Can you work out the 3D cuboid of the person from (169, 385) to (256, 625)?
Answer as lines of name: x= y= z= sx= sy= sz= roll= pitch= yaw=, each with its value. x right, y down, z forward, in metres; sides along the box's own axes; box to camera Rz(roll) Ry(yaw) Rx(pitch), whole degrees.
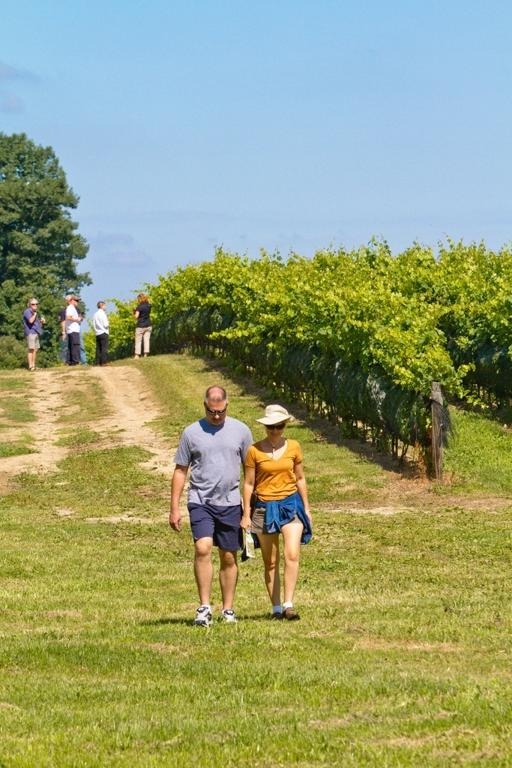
person: x=-0.345 y=0.938 z=12.785 sx=0.435 sy=1.849 sz=0.695 roll=2 pitch=5 yaw=35

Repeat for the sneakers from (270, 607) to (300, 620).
sneakers: x=0.222 y=1.795 z=13.076 sx=0.236 sy=0.120 sz=0.088 roll=-12 pitch=-11 yaw=41

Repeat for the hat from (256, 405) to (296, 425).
hat: x=0.199 y=0.323 z=17.645 sx=0.331 sy=0.162 sz=0.386 roll=-2 pitch=6 yaw=9
